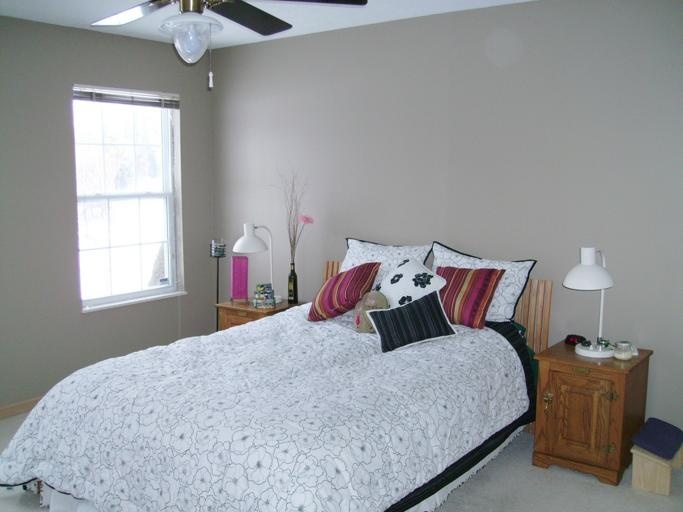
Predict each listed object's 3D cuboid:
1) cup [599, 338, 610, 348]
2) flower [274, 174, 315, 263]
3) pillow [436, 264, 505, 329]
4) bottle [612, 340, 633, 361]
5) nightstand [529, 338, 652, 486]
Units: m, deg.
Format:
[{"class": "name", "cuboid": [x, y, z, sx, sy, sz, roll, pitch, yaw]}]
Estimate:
[{"class": "cup", "cuboid": [1.737, 0.573, 3.220, 0.052, 0.031, 0.076, 2, 2, 11]}, {"class": "flower", "cuboid": [-0.424, -0.384, 4.746, 0.286, 0.830, 0.434, -3, 14, -12]}, {"class": "pillow", "cuboid": [0.887, 0.222, 3.427, 0.436, 0.426, 0.135, 5, -22, 46]}, {"class": "bottle", "cuboid": [1.837, 0.610, 3.161, 0.106, 0.106, 0.110, 1, -1, 34]}, {"class": "nightstand", "cuboid": [1.652, 1.009, 3.465, 0.706, 1.010, 0.782, 2, 2, 39]}]
